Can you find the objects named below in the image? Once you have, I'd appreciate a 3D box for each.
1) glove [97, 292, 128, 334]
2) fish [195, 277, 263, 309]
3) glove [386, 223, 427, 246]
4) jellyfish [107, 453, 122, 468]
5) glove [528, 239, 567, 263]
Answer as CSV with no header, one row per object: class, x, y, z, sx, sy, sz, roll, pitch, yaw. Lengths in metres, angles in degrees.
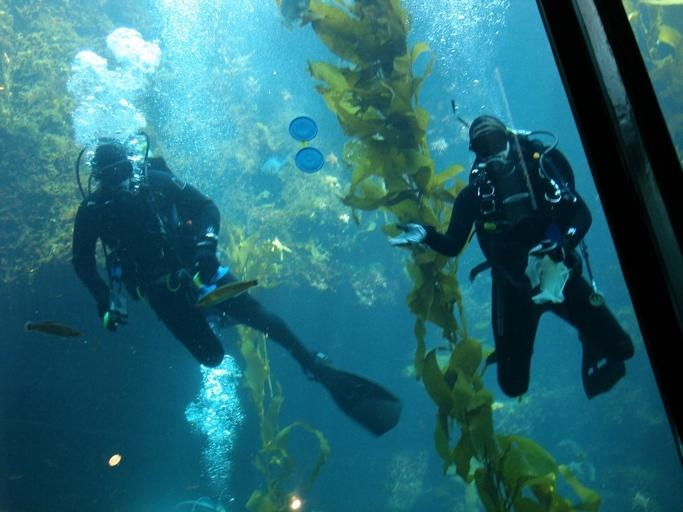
glove,-4.954,1.313,14.800,0.587,0.807,0.287,-16,-23,-32
fish,-2.403,0.789,14.448,1.412,0.606,0.436,0,12,15
glove,1.332,-0.362,13.307,0.539,0.190,0.473,-6,54,12
jellyfish,-5.824,5.323,17.773,0.154,0.288,0.417,4,14,31
glove,4.034,-0.067,13.428,0.591,0.390,0.375,-19,-14,8
